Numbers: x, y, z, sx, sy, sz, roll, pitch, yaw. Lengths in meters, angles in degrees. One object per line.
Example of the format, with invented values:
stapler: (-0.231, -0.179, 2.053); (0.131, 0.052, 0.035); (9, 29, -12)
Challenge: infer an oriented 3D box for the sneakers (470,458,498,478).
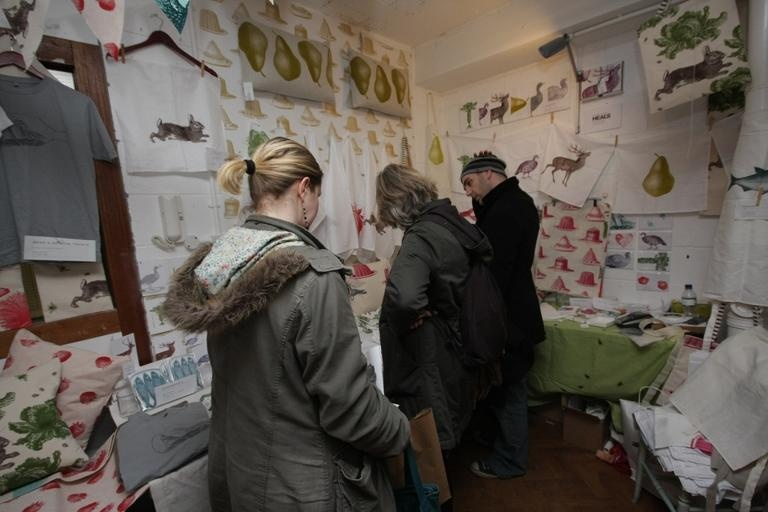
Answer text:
sneakers: (0.666, 1.418, 3.263); (0.155, 0.065, 0.082); (14, 5, 27)

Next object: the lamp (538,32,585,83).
lamp: (1.304, -1.455, 3.559); (0.228, 0.323, 0.362); (4, 6, 36)

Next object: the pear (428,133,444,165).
pear: (0.459, -0.947, 4.353); (0.126, 0.270, 0.064); (-1, 5, -14)

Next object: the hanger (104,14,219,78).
hanger: (-1.353, -1.255, 2.978); (0.626, 0.249, 0.092); (-3, 6, -29)

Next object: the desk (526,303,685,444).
desk: (1.461, 0.751, 3.316); (0.771, 0.469, 0.722); (5, 6, 43)

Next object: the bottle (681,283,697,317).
bottle: (2.084, 0.301, 3.323); (0.093, 0.204, 0.090); (0, 5, 0)
